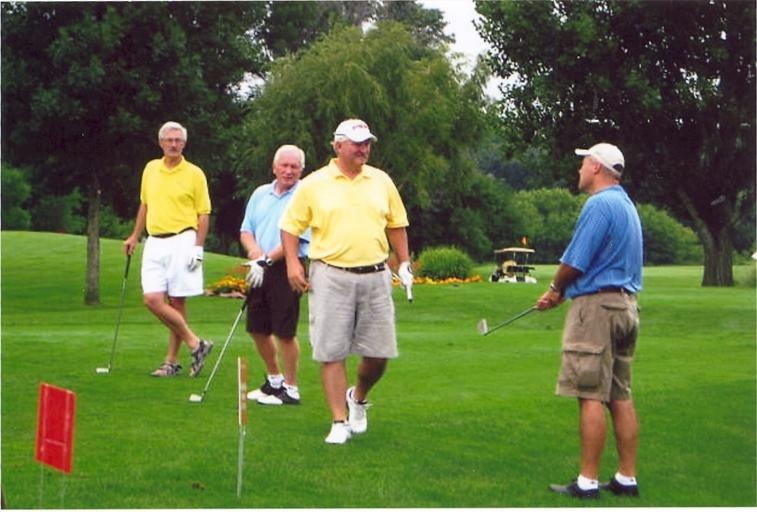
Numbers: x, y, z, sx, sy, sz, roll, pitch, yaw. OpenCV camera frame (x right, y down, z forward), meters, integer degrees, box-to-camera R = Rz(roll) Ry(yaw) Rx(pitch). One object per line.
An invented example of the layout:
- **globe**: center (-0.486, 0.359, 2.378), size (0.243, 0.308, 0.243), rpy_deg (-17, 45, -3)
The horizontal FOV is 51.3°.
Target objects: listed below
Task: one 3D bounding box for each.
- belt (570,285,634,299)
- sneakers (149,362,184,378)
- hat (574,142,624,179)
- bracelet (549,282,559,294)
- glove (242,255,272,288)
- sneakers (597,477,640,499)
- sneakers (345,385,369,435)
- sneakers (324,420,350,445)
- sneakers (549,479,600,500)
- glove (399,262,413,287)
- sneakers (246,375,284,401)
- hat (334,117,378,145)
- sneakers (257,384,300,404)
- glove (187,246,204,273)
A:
- **belt**: center (2.093, 0.343, 7.340), size (0.568, 0.085, 0.130), rpy_deg (2, -1, 5)
- **sneakers**: center (-2.704, 1.468, 10.051), size (0.339, 0.130, 0.164), rpy_deg (3, -6, -25)
- **hat**: center (2.134, -0.987, 7.637), size (0.517, 0.290, 0.354), rpy_deg (26, 16, 17)
- **bracelet**: center (1.667, 0.288, 7.507), size (0.078, 0.034, 0.089), rpy_deg (32, -12, -18)
- **glove**: center (-1.414, 0.194, 8.823), size (0.315, 0.361, 0.135), rpy_deg (0, 13, -40)
- **sneakers**: center (2.249, 2.144, 7.349), size (0.373, 0.155, 0.143), rpy_deg (3, 0, 36)
- **sneakers**: center (-0.213, 1.638, 8.376), size (0.180, 0.495, 0.214), rpy_deg (1, -11, -29)
- **sneakers**: center (-0.401, 1.785, 7.994), size (0.305, 0.198, 0.248), rpy_deg (2, -1, -14)
- **sneakers**: center (1.801, 2.162, 7.301), size (0.463, 0.174, 0.169), rpy_deg (4, -5, 31)
- **glove**: center (0.285, 0.201, 8.462), size (0.090, 0.245, 0.157), rpy_deg (-9, -16, 33)
- **sneakers**: center (-1.321, 1.557, 9.210), size (0.581, 0.238, 0.195), rpy_deg (-11, 0, 11)
- **hat**: center (-0.303, -1.287, 8.233), size (0.305, 0.217, 0.407), rpy_deg (-3, 6, -24)
- **sneakers**: center (-1.183, 1.605, 9.091), size (0.555, 0.230, 0.195), rpy_deg (4, -6, 4)
- **glove**: center (-2.345, 0.040, 10.020), size (0.110, 0.305, 0.220), rpy_deg (16, -3, -7)
